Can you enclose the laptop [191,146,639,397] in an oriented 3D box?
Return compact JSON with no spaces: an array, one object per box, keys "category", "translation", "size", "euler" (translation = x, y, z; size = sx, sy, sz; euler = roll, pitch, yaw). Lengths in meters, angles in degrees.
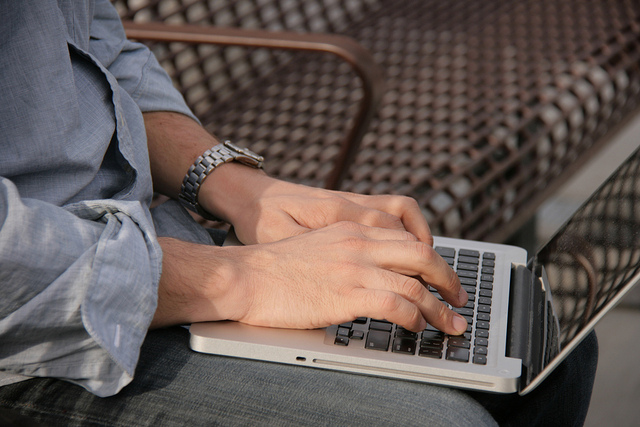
[{"category":"laptop","translation":[0.159,0.199,1.193],"size":[0.738,0.242,0.505],"euler":[11,29,8]}]
